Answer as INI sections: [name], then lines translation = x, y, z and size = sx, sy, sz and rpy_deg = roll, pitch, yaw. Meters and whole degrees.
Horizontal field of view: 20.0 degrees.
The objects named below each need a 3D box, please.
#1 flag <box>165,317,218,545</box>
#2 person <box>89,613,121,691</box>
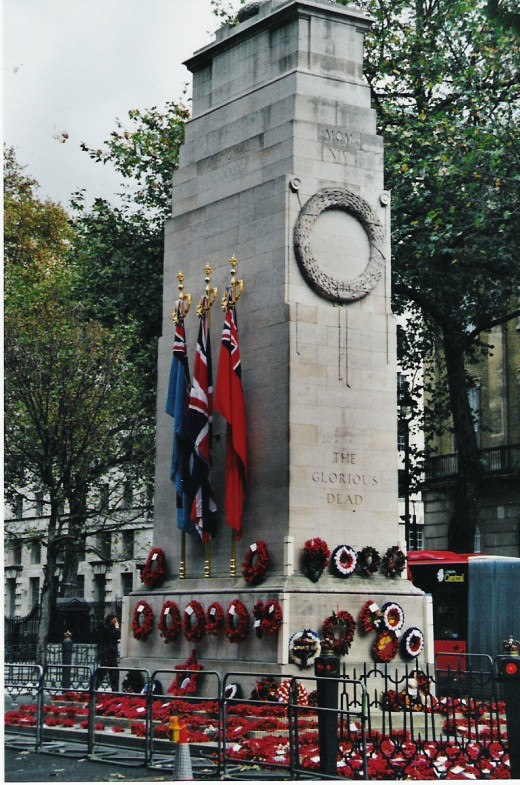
[flag]
translation = -1.037, 0.551, 23.190
size = 0.669, 3.550, 1.347
rpy_deg = -2, 3, -5
[person]
translation = -2.924, 4.990, 29.359
size = 0.558, 0.484, 1.636
rpy_deg = 1, -56, -7
